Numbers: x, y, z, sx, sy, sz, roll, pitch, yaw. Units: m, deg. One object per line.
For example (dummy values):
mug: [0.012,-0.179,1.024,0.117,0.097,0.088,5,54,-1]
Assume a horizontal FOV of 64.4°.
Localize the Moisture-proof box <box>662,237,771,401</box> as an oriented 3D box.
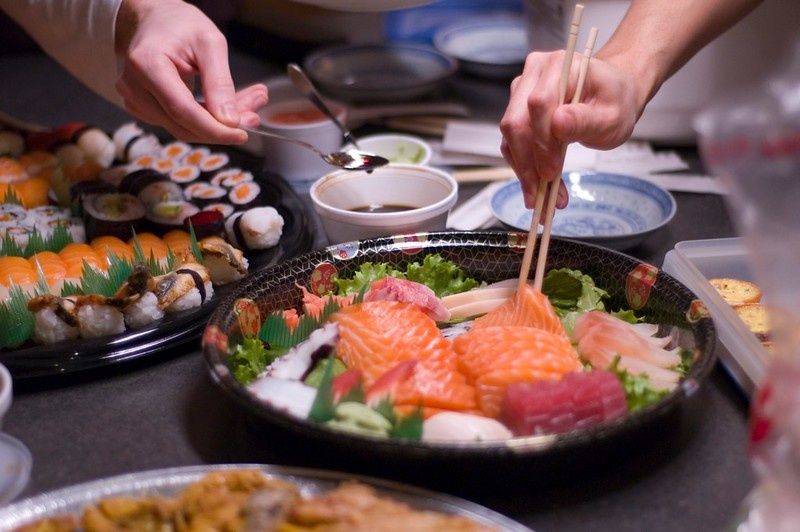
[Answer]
Moisture-proof box: [0.673,0.128,1.358,0.211,0.101,0.309,-6,43,-10]
